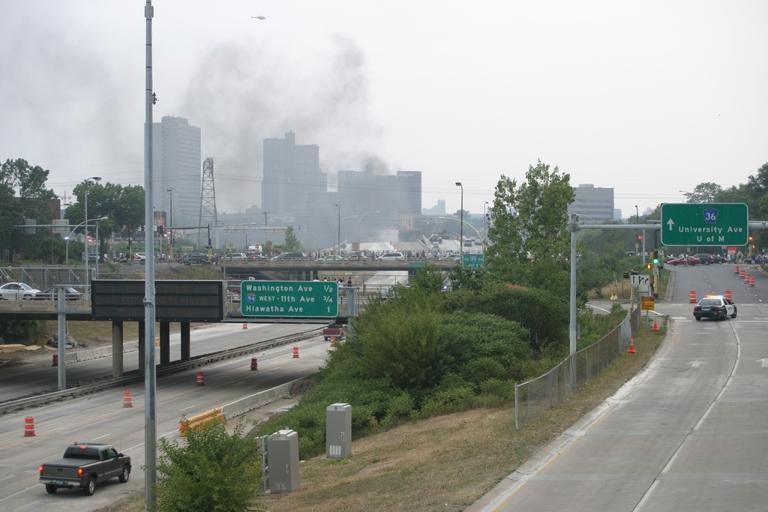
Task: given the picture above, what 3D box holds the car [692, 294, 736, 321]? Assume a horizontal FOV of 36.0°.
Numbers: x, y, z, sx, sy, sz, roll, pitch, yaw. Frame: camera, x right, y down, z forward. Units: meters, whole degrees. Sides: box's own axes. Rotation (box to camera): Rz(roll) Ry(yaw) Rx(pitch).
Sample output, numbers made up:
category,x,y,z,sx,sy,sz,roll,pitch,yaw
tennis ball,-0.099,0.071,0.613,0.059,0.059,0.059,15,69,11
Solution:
category,x,y,z,sx,sy,sz,roll,pitch,yaw
car,31.035,5.162,114.213,4.313,2.142,2.208,-1,-3,-42
